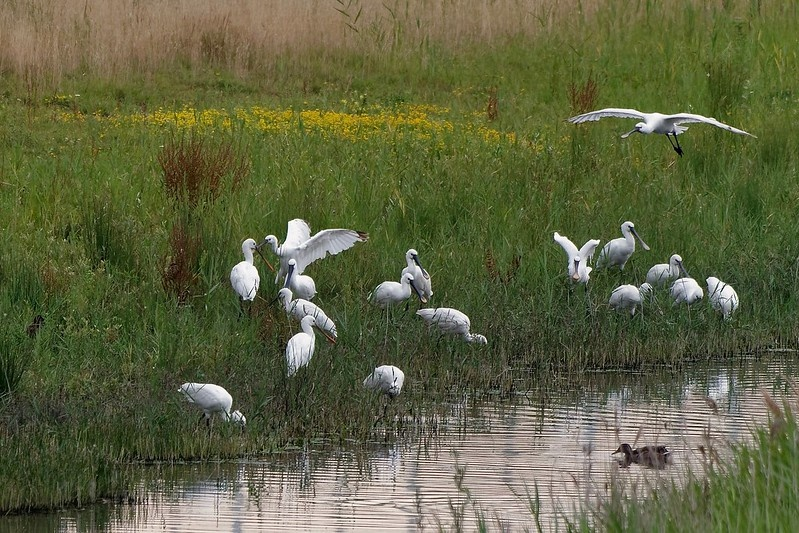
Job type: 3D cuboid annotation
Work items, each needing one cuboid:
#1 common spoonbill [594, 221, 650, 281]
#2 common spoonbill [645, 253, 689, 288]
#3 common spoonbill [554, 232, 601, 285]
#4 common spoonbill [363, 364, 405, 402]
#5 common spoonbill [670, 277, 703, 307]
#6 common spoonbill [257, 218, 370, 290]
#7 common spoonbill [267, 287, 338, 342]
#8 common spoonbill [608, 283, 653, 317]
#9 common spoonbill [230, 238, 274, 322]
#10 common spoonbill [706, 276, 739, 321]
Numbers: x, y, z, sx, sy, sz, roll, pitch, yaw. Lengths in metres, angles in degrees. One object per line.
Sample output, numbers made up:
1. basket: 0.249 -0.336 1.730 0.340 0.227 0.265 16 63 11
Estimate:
1. common spoonbill: 2.935 -0.254 17.906 0.326 0.796 0.811 7 3 -40
2. common spoonbill: 3.515 0.038 17.776 0.546 0.481 0.301 -2 9 36
3. common spoonbill: 2.294 -0.119 17.351 0.540 0.737 0.552 0 10 6
4. common spoonbill: -0.186 1.173 14.570 0.188 0.442 0.539 10 -5 42
5. common spoonbill: 3.670 0.291 17.185 0.427 0.360 0.236 15 11 32
6. common spoonbill: -1.073 -0.272 16.335 0.649 0.539 1.104 3 3 -25
7. common spoonbill: -1.075 0.520 15.618 0.908 0.679 0.367 9 -7 22
8. common spoonbill: 2.926 0.406 16.964 0.518 0.538 0.331 -2 5 -8
9. common spoonbill: -1.813 0.101 15.898 0.239 0.773 0.800 2 14 -12
10. common spoonbill: 4.082 0.386 17.229 0.259 0.689 0.403 -21 -23 25
